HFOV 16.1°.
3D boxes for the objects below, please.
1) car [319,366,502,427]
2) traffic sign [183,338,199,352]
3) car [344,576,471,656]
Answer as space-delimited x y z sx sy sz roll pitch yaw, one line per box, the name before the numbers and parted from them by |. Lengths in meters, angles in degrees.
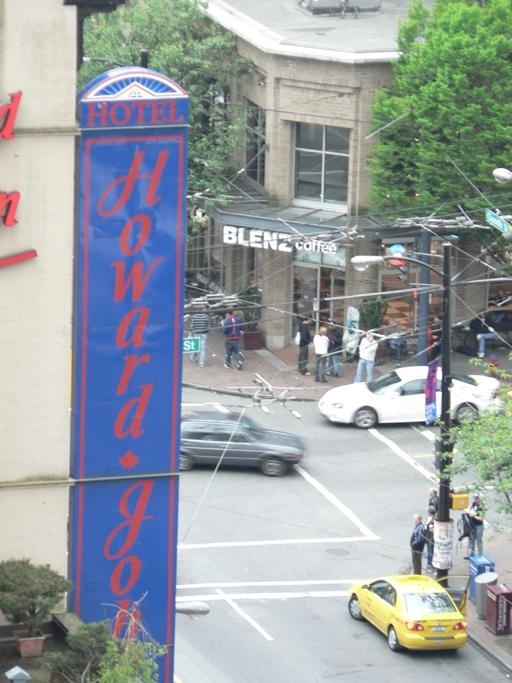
car | 3.518 1.149 39.931 3.842 1.036 1.523 -2 14 4
traffic sign | -1.323 0.058 37.037 0.393 0.317 0.048 -2 -10 10
car | 2.542 4.194 29.414 1.319 0.909 2.854 -3 11 -17
